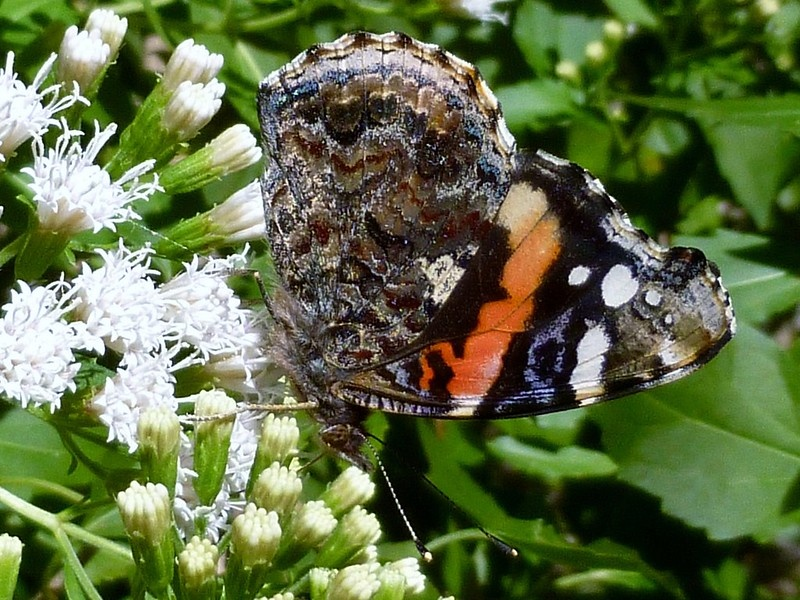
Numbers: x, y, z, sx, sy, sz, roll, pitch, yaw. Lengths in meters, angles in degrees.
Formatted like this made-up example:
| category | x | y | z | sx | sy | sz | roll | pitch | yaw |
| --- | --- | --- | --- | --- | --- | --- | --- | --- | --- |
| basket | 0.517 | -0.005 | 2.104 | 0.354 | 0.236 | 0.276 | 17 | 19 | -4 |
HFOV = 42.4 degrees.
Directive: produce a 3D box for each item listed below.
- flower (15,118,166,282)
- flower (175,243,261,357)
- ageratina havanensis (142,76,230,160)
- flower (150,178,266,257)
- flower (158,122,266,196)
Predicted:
| category | x | y | z | sx | sy | sz | roll | pitch | yaw |
| --- | --- | --- | --- | --- | --- | --- | --- | --- | --- |
| flower | -0.686 | -0.206 | 2.303 | 0.309 | 0.285 | 0.322 | 37 | 4 | -21 |
| flower | -0.430 | 0.023 | 2.297 | 0.098 | 0.207 | 0.205 | -31 | 20 | 20 |
| ageratina havanensis | -0.481 | -0.414 | 2.298 | 0.099 | 0.214 | 0.083 | 41 | 0 | -27 |
| flower | -0.415 | -0.166 | 2.280 | 0.232 | 0.120 | 0.139 | -21 | -7 | -11 |
| flower | -0.421 | -0.311 | 2.368 | 0.253 | 0.105 | 0.108 | -26 | 29 | -32 |
